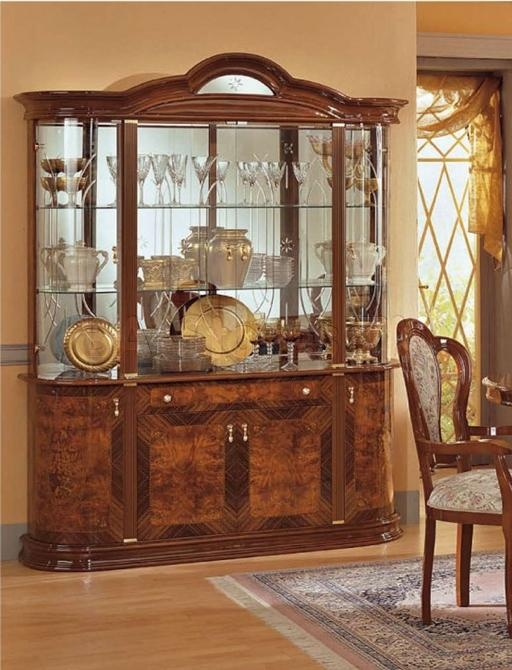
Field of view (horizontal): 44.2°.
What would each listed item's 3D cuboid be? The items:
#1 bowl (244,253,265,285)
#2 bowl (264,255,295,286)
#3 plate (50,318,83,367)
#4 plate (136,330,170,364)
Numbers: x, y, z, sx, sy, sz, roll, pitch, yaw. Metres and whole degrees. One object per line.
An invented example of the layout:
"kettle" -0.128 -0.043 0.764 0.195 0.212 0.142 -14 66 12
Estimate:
"bowl" -0.004 -0.336 3.243 0.145 0.156 0.140 1 0 0
"bowl" 0.123 -0.330 3.268 0.147 0.130 0.149 -1 0 0
"plate" -0.924 0.026 3.025 0.146 0.232 0.036 -1 2 8
"plate" -0.519 0.060 3.102 0.144 0.153 0.147 2 3 17
